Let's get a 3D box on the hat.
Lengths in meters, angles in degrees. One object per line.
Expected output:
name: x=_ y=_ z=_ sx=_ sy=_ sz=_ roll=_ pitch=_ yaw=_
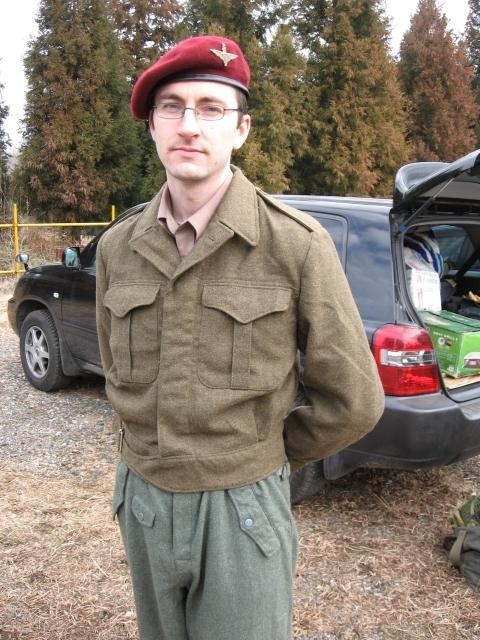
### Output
hat: x=-0.128 y=-0.492 z=1.354 sx=0.188 sy=0.081 sz=0.210 roll=-7 pitch=6 yaw=-33
